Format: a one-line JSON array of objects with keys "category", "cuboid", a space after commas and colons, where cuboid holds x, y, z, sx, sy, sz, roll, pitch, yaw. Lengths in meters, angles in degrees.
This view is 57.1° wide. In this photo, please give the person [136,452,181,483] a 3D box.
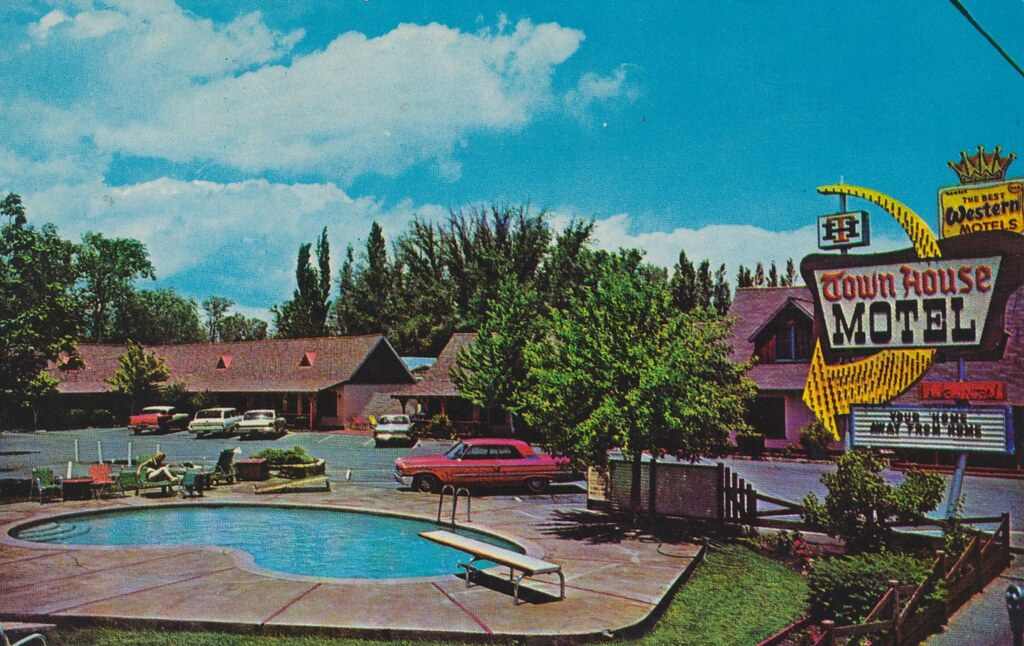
[{"category": "person", "cuboid": [-13.607, 5.588, 36.165, 1.858, 1.216, 1.004, -6, -7, 16]}]

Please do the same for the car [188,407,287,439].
[{"category": "car", "cuboid": [-17.295, 6.356, 59.482, 5.145, 1.944, 2.607, -1, -4, -3]}]

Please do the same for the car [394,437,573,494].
[{"category": "car", "cuboid": [-1.199, 5.954, 37.076, 5.740, 1.592, 2.768, 2, -6, -4]}]

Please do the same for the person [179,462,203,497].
[{"category": "person", "cuboid": [-12.300, 6.058, 35.812, 1.216, 1.298, 0.751, 0, 0, 1]}]

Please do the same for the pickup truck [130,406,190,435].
[{"category": "pickup truck", "cuboid": [-23.548, 6.558, 63.348, 1.925, 1.238, 3.765, -2, -7, 3]}]
